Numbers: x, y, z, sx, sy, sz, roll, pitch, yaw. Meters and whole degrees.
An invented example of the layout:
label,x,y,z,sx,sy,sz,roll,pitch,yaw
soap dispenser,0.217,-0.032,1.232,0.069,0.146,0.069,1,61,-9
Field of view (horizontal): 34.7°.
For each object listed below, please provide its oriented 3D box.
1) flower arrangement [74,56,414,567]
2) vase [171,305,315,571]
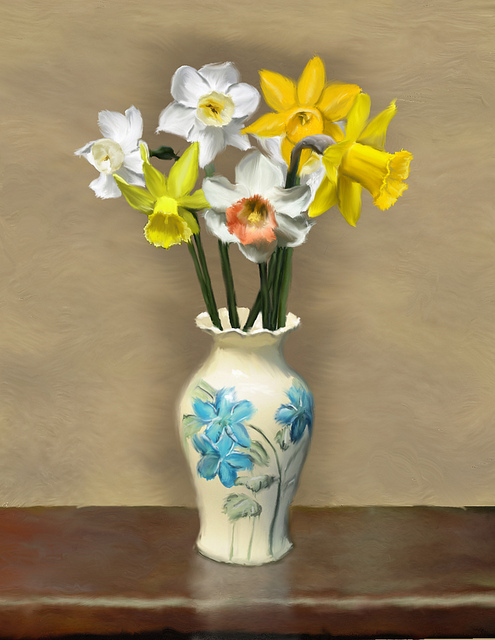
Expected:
label,x,y,z,sx,sy,sz,roll,pitch,yaw
flower arrangement,-0.014,-0.023,0.991,0.342,0.608,0.420,-5,35,-10
vase,0.003,0.150,0.969,0.164,0.330,0.177,-7,36,-12
